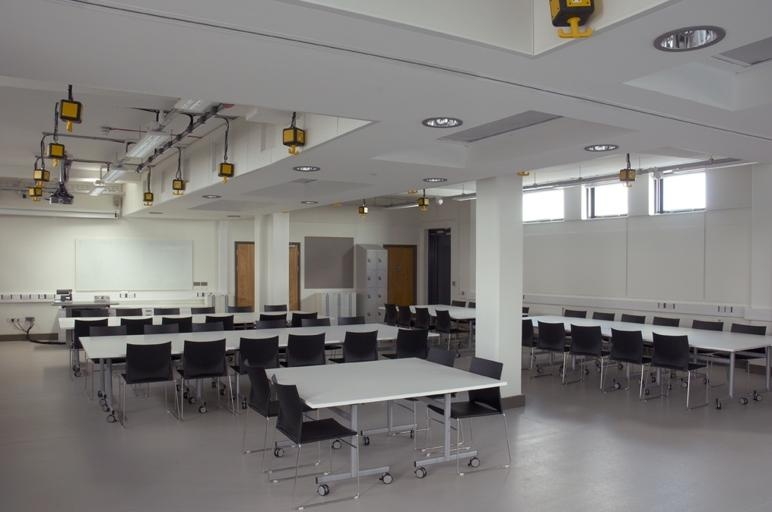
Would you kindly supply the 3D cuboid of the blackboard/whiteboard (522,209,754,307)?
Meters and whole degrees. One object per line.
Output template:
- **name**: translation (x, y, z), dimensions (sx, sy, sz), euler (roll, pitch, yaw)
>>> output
- **blackboard/whiteboard**: translation (5.543, 0.027, 12.425), dimensions (4.644, 2.076, 1.040), euler (3, 6, 40)

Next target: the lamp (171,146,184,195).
- **lamp**: translation (-3.814, -1.550, 10.157), dimensions (0.211, 0.842, 0.497), euler (-2, 5, -21)

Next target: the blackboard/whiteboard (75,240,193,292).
- **blackboard/whiteboard**: translation (-6.859, 0.264, 15.064), dimensions (3.038, 1.452, 0.078), euler (0, -1, -9)

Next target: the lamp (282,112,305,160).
- **lamp**: translation (-1.048, -1.389, 6.248), dimensions (0.234, 0.421, 0.235), euler (6, 8, 43)

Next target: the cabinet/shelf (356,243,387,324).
- **cabinet/shelf**: translation (-0.494, 0.854, 16.991), dimensions (0.646, 2.532, 0.737), euler (-4, 15, -26)

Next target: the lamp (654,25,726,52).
- **lamp**: translation (2.189, -1.568, 3.970), dimensions (0.497, 0.130, 0.256), euler (1, 4, 10)

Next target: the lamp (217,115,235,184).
- **lamp**: translation (-2.429, -1.614, 8.366), dimensions (0.230, 0.942, 0.591), euler (-1, 5, -17)
